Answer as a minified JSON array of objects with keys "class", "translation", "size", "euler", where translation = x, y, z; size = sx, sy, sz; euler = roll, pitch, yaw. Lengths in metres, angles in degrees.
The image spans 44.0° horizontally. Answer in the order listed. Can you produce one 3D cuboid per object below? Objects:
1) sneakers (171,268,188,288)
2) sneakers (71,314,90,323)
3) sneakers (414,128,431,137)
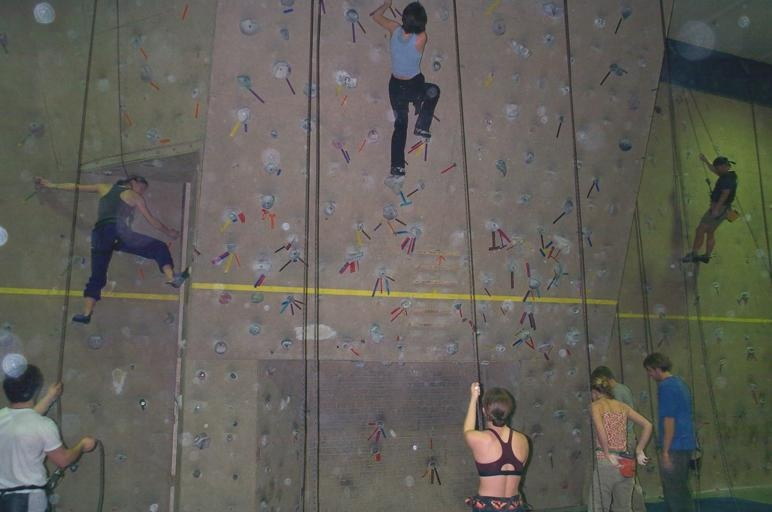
[{"class":"sneakers","translation":[-2.034,0.222,9.591],"size":[0.255,0.100,0.101],"euler":[-14,26,11]},{"class":"sneakers","translation":[-2.998,0.617,9.378],"size":[0.150,0.089,0.069],"euler":[22,-4,-15]},{"class":"sneakers","translation":[0.376,-1.266,9.842],"size":[0.179,0.066,0.076],"euler":[9,11,-13]}]
